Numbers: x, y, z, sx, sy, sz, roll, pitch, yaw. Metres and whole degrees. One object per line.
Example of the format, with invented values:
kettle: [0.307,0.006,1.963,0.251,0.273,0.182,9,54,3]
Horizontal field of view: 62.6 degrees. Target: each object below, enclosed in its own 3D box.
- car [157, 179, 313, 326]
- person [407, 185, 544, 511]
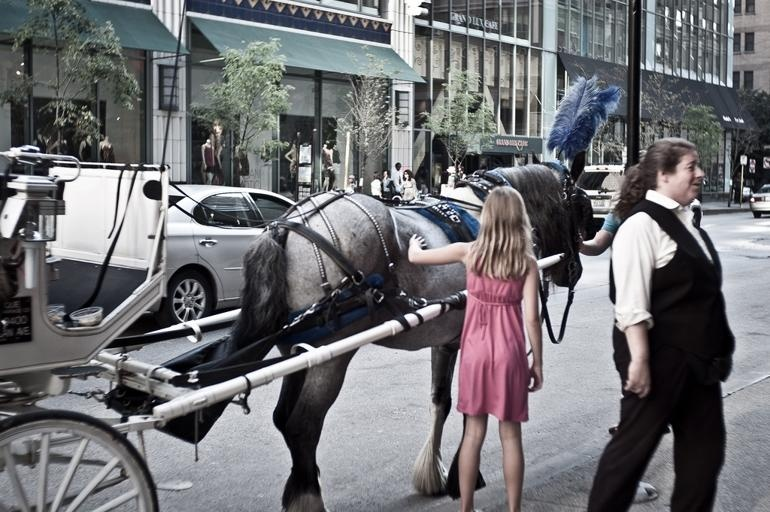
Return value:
car: [-2.132,-0.123,10.111,2.911,1.423,1.637,-5,6,-43]
person: [0.686,0.694,4.382,0.785,2.349,0.407,3,5,13]
